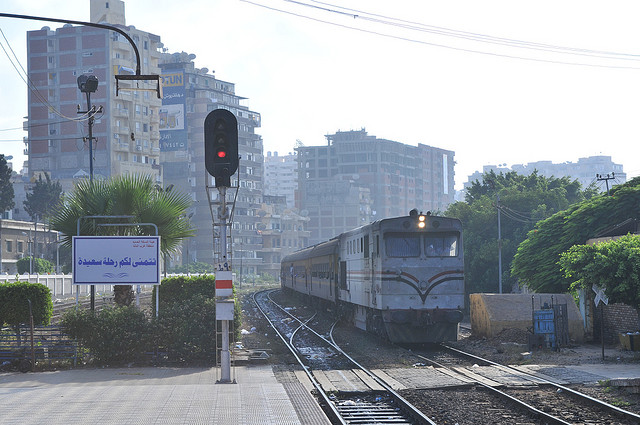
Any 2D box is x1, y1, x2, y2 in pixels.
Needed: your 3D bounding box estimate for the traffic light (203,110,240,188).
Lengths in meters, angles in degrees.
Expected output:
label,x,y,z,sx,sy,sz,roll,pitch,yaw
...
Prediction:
label,x,y,z,sx,sy,sz,roll,pitch,yaw
traffic light,-3.722,-2.362,32.687,1.286,2.854,0.714,0,8,-7
